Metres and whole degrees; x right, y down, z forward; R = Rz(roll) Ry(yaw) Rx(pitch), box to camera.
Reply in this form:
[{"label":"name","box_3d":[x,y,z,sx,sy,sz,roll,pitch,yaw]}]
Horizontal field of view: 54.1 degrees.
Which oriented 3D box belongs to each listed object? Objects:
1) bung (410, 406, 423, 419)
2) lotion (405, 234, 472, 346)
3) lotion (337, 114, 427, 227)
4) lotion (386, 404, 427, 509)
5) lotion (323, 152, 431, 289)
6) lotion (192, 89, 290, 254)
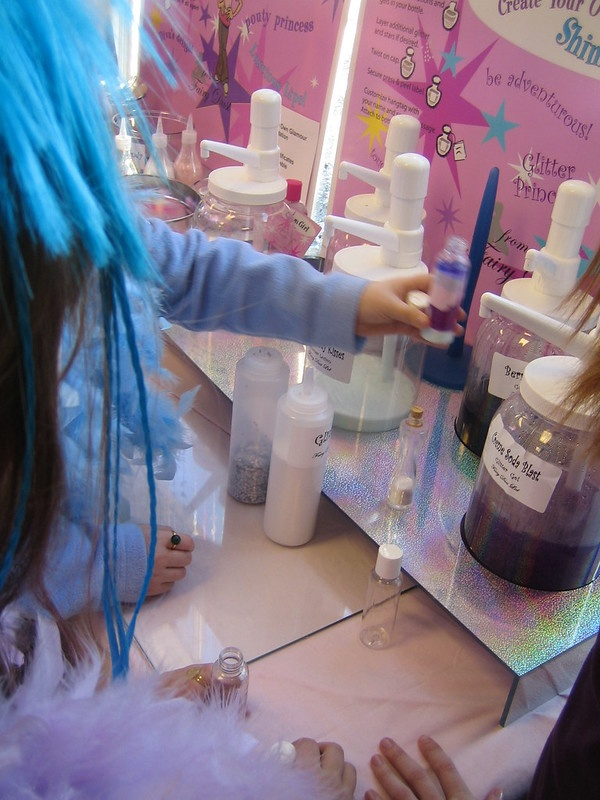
[{"label":"bung","box_3d":[0.141,0.017,0.720,0.010,0.014,0.014,21,7,-41]},{"label":"lotion","box_3d":[0.162,-0.116,0.649,0.042,0.104,0.118,14,27,9]},{"label":"lotion","box_3d":[0.119,-0.332,0.833,0.125,0.142,0.105,4,41,4]},{"label":"lotion","box_3d":[0.135,0.070,0.729,0.038,0.142,0.050,15,27,11]},{"label":"lotion","box_3d":[0.099,-0.228,0.725,0.133,0.143,0.107,-4,34,-8]},{"label":"lotion","box_3d":[-0.073,-0.350,0.900,0.159,0.239,0.147,-16,46,-31]}]
